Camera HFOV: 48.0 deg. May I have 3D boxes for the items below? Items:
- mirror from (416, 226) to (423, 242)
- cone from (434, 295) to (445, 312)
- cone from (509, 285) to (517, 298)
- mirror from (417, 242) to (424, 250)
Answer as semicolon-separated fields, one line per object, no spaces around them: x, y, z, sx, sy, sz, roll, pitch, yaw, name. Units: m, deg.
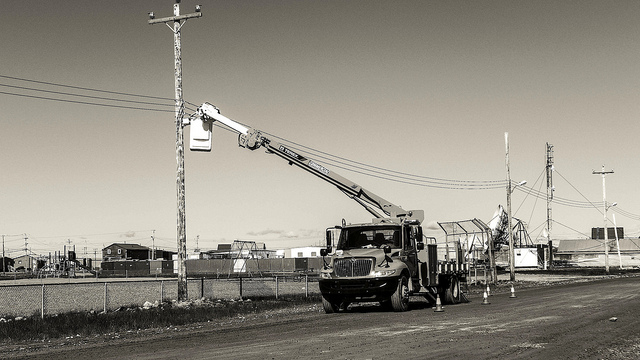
5.976;3.246;43.493;0.305;0.943;0.292;-3;-3;17;mirror
7.033;7.231;42.592;0.561;0.885;1.816;-2;-4;8;cone
13.291;7.715;49.604;0.651;0.810;0.638;-1;-6;0;cone
6.032;3.930;43.218;0.300;0.406;0.665;-3;-4;21;mirror
